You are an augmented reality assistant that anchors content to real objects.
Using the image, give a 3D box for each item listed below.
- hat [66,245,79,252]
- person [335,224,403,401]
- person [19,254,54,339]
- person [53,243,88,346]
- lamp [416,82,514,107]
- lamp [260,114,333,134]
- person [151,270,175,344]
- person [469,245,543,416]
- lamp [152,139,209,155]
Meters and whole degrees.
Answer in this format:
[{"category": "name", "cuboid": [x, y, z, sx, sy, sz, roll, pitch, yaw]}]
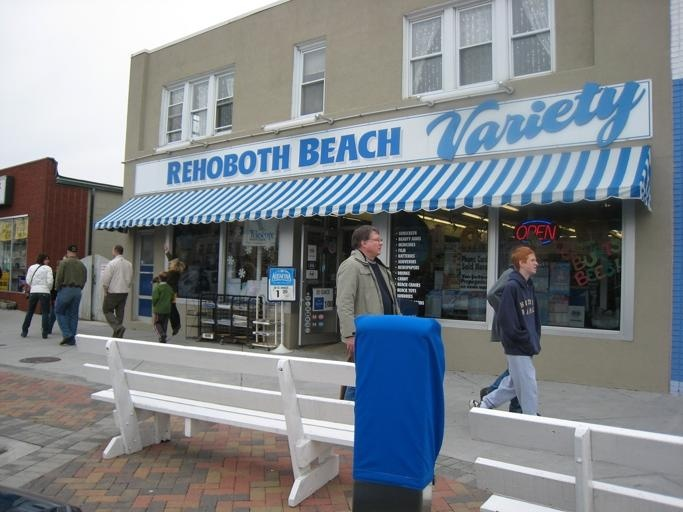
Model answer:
[{"category": "hat", "cuboid": [-5.785, -0.161, 12.941, 0.238, 0.271, 0.319, 0, 6, -26]}, {"category": "person", "cuboid": [0.310, 0.466, 7.091, 0.762, 1.623, 0.472, -1, 6, -12]}, {"category": "person", "cuboid": [-6.949, 0.915, 13.773, 0.676, 1.867, 1.554, -3, 6, -27]}, {"category": "person", "cuboid": [-5.761, 0.822, 12.716, 0.570, 2.050, 0.949, -1, 6, -14]}, {"category": "lamp", "cuboid": [2.212, -2.811, 10.446, 1.702, 0.194, 0.328, 5, 45, 41]}, {"category": "lamp", "cuboid": [-0.932, -2.727, 12.407, 1.777, 0.335, 0.334, 4, 7, 35]}, {"category": "person", "cuboid": [-3.886, 1.129, 13.197, 0.454, 1.582, 1.372, -2, 6, -16]}, {"category": "person", "cuboid": [2.032, 0.945, 7.192, 0.653, 2.093, 0.728, 2, 6, 18]}, {"category": "lamp", "cuboid": [-3.830, -2.624, 14.443, 1.795, 0.282, 0.226, 5, 8, 38]}]
